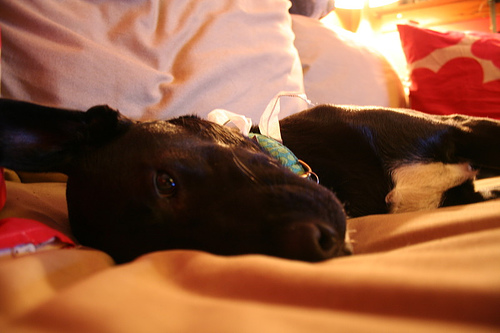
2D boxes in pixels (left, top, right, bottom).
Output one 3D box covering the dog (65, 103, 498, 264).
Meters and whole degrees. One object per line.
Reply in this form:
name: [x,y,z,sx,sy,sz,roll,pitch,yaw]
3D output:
dog: [0.137,0.055,1.566,1.058,0.388,0.724,0,-18,-34]
